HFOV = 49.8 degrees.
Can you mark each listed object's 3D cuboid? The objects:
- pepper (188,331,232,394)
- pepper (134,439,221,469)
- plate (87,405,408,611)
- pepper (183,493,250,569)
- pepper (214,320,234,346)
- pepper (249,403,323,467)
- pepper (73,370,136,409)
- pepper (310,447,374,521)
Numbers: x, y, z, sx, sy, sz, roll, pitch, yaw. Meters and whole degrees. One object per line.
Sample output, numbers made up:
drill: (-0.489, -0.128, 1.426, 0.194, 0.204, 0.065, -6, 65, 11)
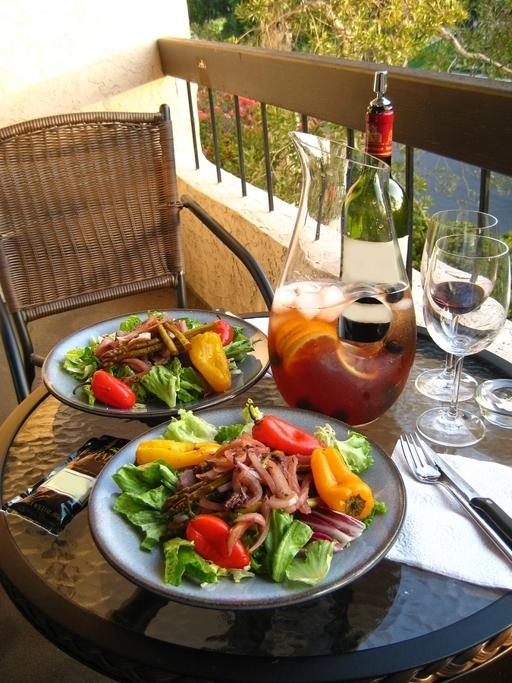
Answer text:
pepper: (-0.057, 0.021, 0.674, 0.044, 0.031, 0.078, -10, 45, -9)
pepper: (-0.074, 0.100, 0.494, 0.058, 0.019, 0.030, 2, 2, 4)
plate: (-0.007, 0.108, 0.367, 0.150, 0.023, 0.139, -4, 30, -3)
pepper: (-0.031, 0.137, 0.398, 0.047, 0.021, 0.026, 26, 12, 37)
pepper: (-0.043, -0.011, 0.741, 0.010, 0.029, 0.030, -22, 50, -13)
pepper: (0.024, 0.083, 0.477, 0.057, 0.019, 0.029, 22, -4, 14)
pepper: (-0.184, 0.062, 0.666, 0.059, 0.030, 0.031, 32, 4, 14)
pepper: (0.068, 0.108, 0.447, 0.040, 0.030, 0.069, -17, 38, -2)
